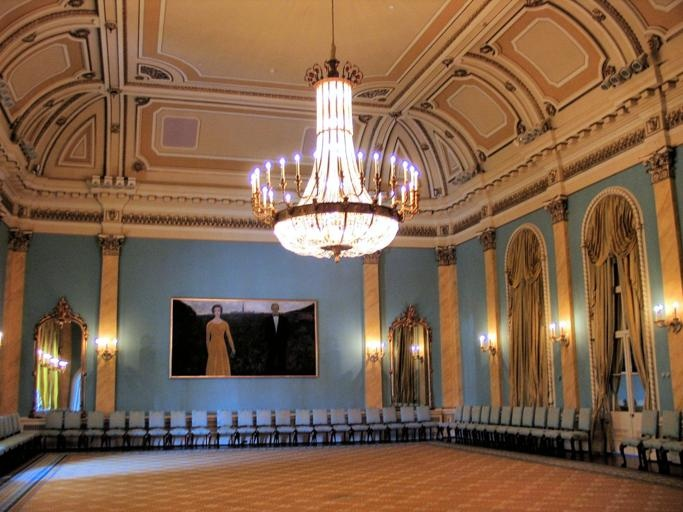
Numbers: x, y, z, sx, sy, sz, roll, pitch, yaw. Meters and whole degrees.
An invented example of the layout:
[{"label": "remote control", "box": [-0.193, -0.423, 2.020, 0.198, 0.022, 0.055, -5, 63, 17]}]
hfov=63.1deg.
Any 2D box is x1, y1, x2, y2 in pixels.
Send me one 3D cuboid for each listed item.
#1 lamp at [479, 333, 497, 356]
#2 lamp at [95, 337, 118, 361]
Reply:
[{"label": "lamp", "box": [3.671, 2.219, 13.995, 0.255, 0.583, 0.653, 0, -10, -5]}, {"label": "lamp", "box": [-5.834, 2.312, 13.724, 0.426, 0.695, 0.194, 4, -19, -23]}]
